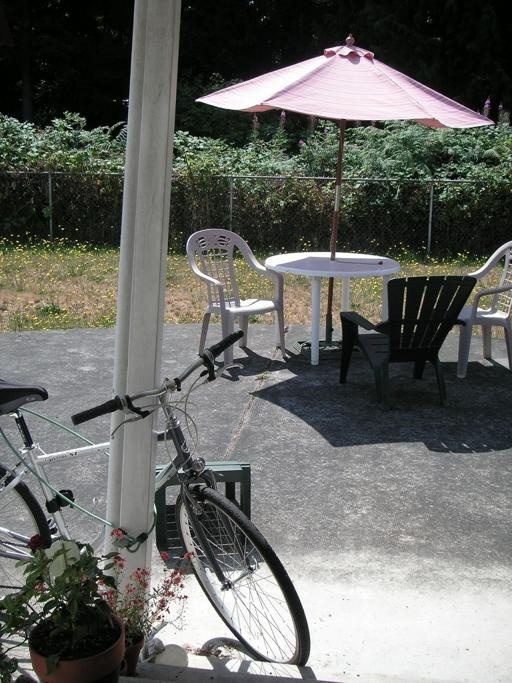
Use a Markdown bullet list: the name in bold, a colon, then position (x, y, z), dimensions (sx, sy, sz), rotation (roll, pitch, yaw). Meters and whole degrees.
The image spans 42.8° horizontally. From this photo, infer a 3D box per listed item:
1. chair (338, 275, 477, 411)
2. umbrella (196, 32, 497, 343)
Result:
- **chair**: position (1.095, -0.054, 4.944), dimensions (0.750, 0.965, 0.712), rotation (-3, 15, -17)
- **umbrella**: position (0.813, -1.517, 6.165), dimensions (2.579, 2.368, 2.385), rotation (5, 19, 8)
